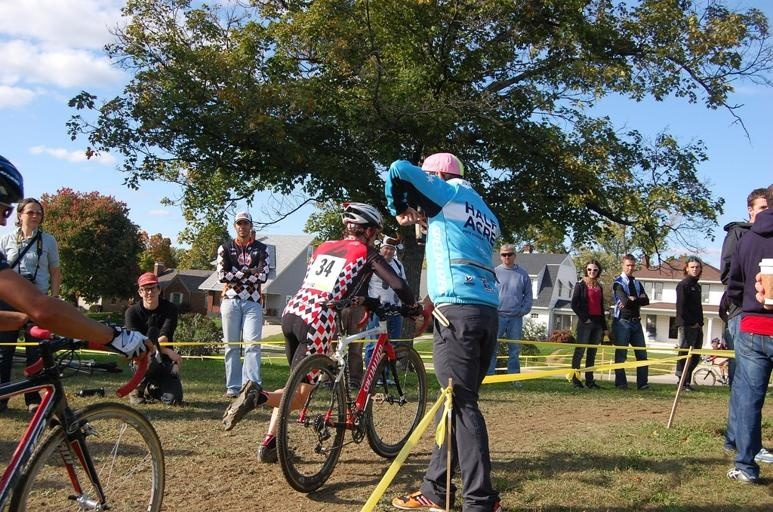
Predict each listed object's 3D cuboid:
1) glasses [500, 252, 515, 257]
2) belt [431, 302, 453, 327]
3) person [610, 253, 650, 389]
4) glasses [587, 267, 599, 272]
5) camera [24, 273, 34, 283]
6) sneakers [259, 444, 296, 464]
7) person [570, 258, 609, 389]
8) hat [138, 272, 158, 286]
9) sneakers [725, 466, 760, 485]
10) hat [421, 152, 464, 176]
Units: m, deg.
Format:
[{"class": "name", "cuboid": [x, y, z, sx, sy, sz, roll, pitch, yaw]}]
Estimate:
[{"class": "glasses", "cuboid": [2.406, -0.018, 18.353, 0.238, 0.088, 0.139, 2, -6, 7]}, {"class": "belt", "cuboid": [0.679, 0.789, 12.013, 0.090, 0.409, 0.111, -12, -40, -36]}, {"class": "person", "cuboid": [4.904, 1.311, 18.480, 0.750, 2.772, 1.528, 1, -6, 15]}, {"class": "glasses", "cuboid": [4.174, 0.294, 18.629, 0.212, 0.083, 0.123, 1, -6, 13]}, {"class": "camera", "cuboid": [-5.268, 0.331, 13.450, 0.132, 0.045, 0.169, 12, 2, -13]}, {"class": "sneakers", "cuboid": [-1.477, 2.711, 12.483, 0.615, 0.254, 0.218, 5, -5, -35]}, {"class": "person", "cuboid": [4.129, 1.405, 18.792, 0.703, 2.630, 1.093, 1, -5, 13]}, {"class": "hat", "cuboid": [-3.991, 0.385, 15.243, 0.279, 0.185, 0.369, -2, -14, -15]}, {"class": "sneakers", "cuboid": [4.841, 3.032, 12.536, 0.374, 0.163, 0.185, 9, 5, 27]}, {"class": "hat", "cuboid": [0.762, -1.240, 12.417, 0.453, 0.225, 0.318, 12, 0, 8]}]
